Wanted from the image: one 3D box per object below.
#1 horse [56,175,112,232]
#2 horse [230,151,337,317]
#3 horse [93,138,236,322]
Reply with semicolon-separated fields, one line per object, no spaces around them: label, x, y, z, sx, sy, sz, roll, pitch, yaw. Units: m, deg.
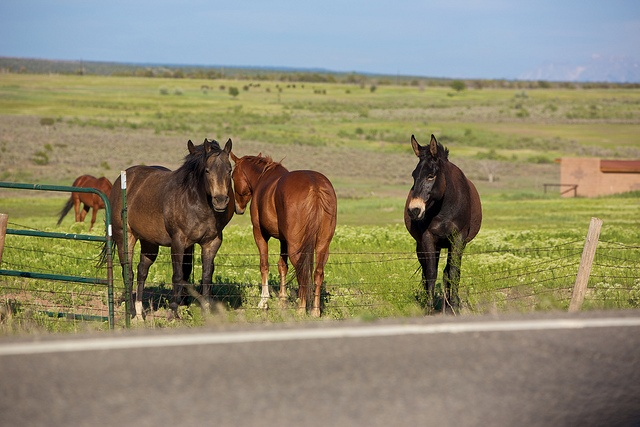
horse;-13.767;-0.393;64.472;2.122;3.340;5.386;4;-4;-15
horse;-1.750;0.829;54.447;6.054;7.100;2.649;14;19;43
horse;-7.323;0.979;54.964;3.826;8.910;12.107;-2;0;-37
